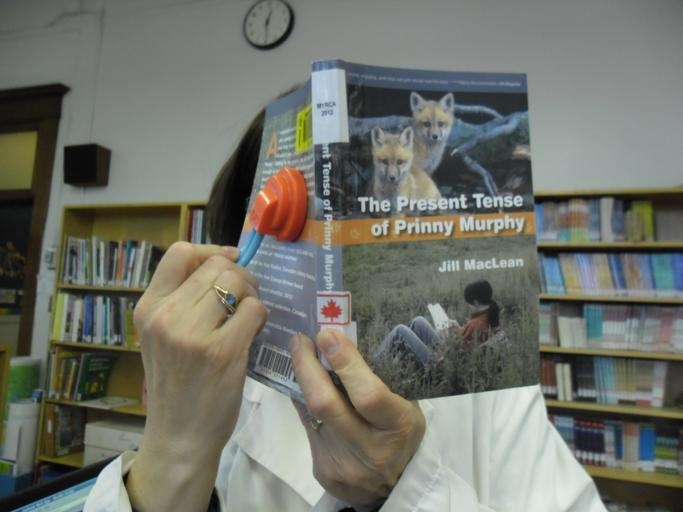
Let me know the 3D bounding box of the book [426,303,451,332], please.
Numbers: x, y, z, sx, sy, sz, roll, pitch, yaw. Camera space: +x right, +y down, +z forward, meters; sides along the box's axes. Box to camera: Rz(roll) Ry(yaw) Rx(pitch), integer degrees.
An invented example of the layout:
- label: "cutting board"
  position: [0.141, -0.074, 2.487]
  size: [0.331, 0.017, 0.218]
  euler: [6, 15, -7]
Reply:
- label: "book"
  position: [0.317, 0.200, 1.881]
  size: [0.049, 0.099, 0.010]
  euler: [-23, -1, -9]

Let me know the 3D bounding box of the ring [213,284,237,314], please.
- label: "ring"
  position: [-0.379, 0.142, 1.913]
  size: [0.051, 0.107, 0.035]
  euler: [-41, 3, -3]
